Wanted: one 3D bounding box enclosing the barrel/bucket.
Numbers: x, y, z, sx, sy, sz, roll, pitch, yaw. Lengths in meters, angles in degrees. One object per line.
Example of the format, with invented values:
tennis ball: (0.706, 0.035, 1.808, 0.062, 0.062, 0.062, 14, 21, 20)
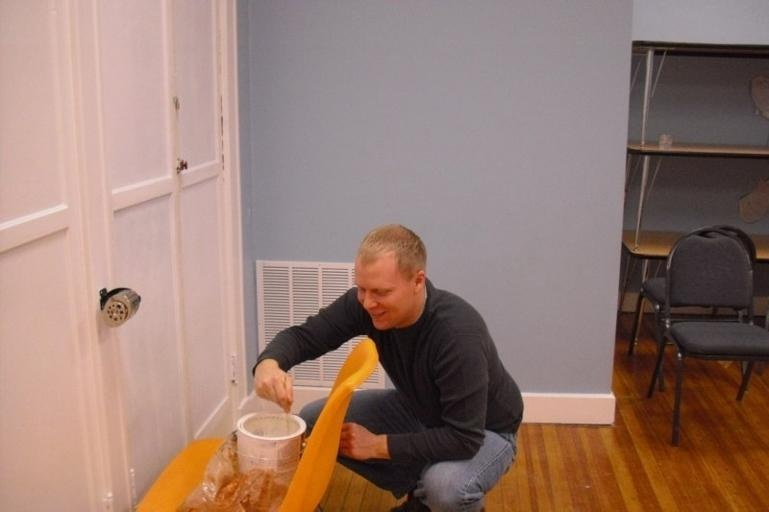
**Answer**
barrel/bucket: (-0.397, 0.600, 2.139, 0.195, 0.231, 0.225, 6, 6, 0)
